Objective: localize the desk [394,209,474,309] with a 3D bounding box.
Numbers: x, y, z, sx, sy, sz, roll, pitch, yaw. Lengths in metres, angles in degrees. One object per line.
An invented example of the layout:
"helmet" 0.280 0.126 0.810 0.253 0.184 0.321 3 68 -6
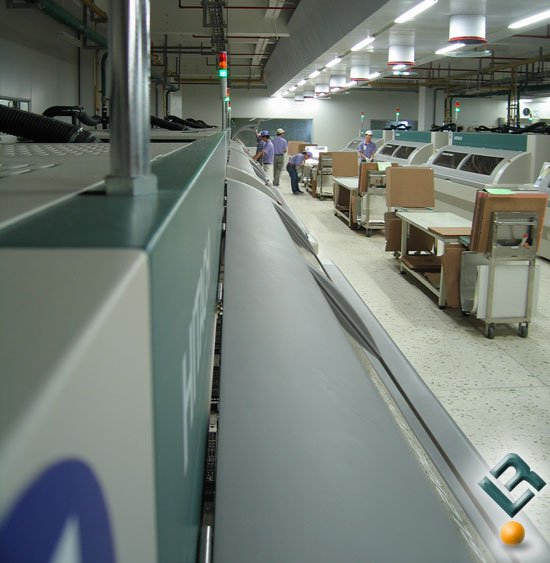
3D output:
"desk" 1.810 -0.249 4.823 0.347 0.525 1.081 0 19 0

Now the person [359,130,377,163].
"person" 2.662 -3.942 12.026 0.469 0.859 2.030 3 17 12

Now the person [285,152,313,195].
"person" 0.782 -3.654 13.749 0.694 1.303 2.584 1 16 5

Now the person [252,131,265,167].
"person" -0.390 -3.817 11.925 0.438 0.907 1.076 0 16 -1
